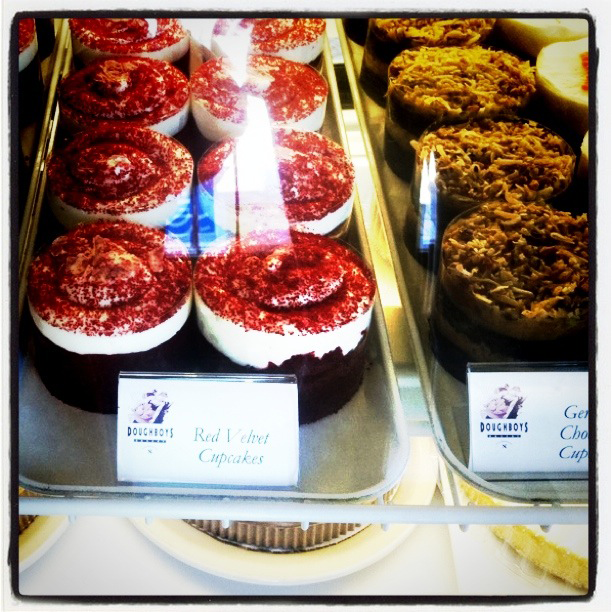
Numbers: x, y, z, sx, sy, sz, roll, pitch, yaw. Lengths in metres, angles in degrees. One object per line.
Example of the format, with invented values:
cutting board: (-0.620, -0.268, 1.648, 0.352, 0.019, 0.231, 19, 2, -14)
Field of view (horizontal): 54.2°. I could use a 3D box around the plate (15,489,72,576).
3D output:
plate: (-0.371, 0.334, 0.847, 0.063, 0.030, 0.069, -5, 53, -5)
